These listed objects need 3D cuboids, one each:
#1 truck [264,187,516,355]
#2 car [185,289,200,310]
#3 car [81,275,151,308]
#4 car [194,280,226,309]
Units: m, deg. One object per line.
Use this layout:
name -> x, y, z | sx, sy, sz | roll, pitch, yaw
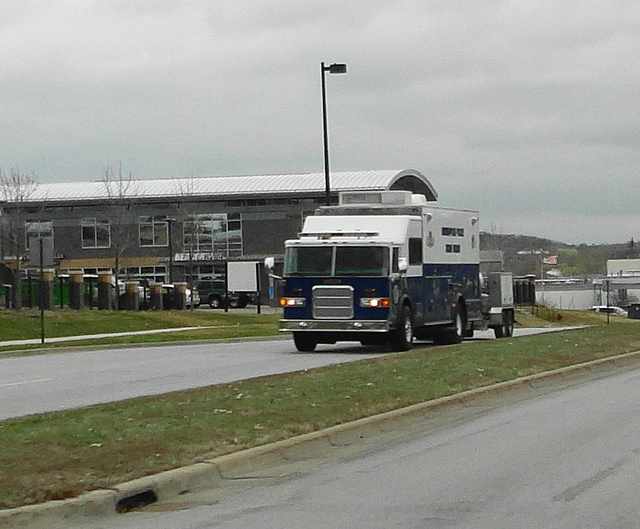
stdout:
truck -> 2.421, 0.170, 24.103 | 3.598, 4.517, 8.137 | -4, -3, 42
car -> -8.048, 2.162, 51.863 | 0.931, 1.036, 2.212 | 0, -6, -4
car -> -10.955, 1.361, 43.370 | 3.112, 1.801, 1.861 | -1, -1, 10
car -> -8.174, 2.177, 61.334 | 2.805, 1.804, 1.745 | 3, 1, 15
